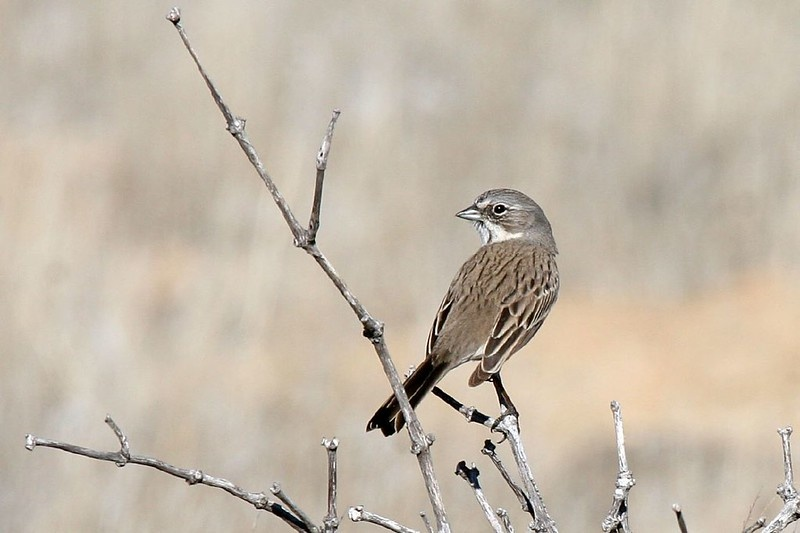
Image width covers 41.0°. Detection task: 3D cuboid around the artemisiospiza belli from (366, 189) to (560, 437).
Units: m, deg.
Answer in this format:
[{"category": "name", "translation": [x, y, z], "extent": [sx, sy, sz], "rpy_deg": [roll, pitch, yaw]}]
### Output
[{"category": "artemisiospiza belli", "translation": [0.615, 0.291, 8.168], "extent": [0.803, 2.475, 1.699], "rpy_deg": [1, -81, 30]}]
